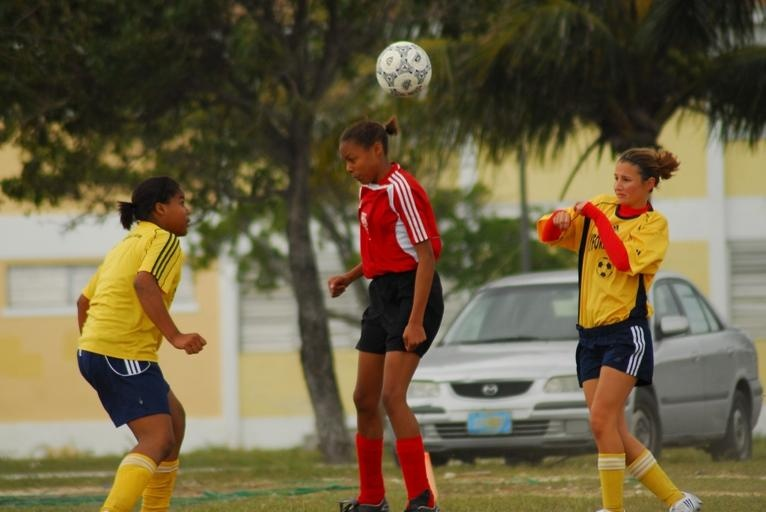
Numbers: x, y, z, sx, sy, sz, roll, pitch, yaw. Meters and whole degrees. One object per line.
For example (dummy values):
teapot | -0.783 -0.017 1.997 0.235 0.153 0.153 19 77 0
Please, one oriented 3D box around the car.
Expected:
car | 2.196 1.112 17.162 1.873 1.443 3.138 -4 -7 36
